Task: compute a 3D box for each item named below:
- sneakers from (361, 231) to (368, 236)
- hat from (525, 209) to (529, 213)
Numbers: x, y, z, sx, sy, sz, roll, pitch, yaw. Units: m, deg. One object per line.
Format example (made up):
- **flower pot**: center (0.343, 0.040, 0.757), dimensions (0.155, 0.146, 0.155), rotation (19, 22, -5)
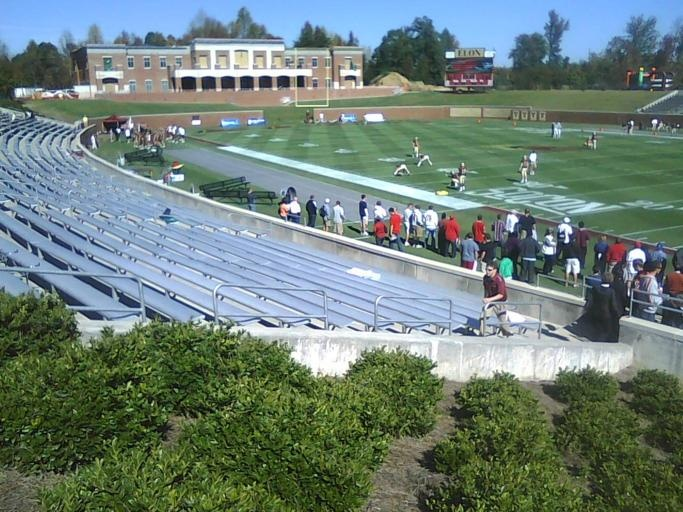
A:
- **sneakers**: center (0.846, -0.857, 30.841), dimensions (0.130, 0.067, 0.187), rotation (-5, 41, 4)
- **hat**: center (6.176, -1.502, 26.929), dimensions (0.173, 0.137, 0.215), rotation (3, 8, 8)
